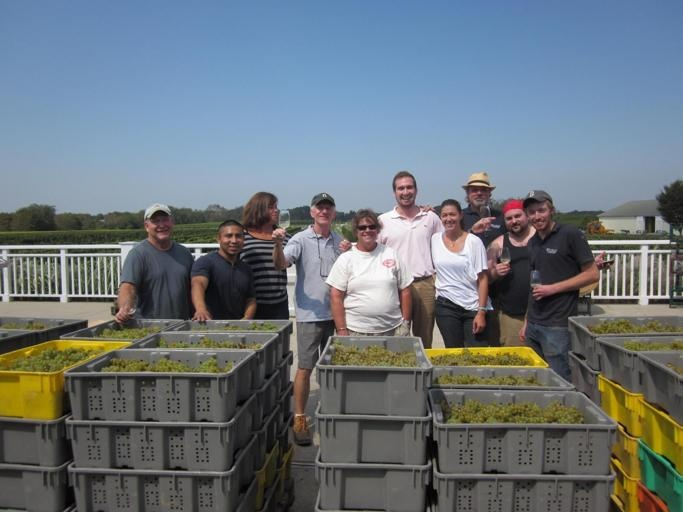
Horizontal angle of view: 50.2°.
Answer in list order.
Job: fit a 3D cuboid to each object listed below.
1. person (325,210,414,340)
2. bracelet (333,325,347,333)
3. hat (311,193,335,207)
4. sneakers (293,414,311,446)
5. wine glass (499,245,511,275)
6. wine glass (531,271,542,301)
[{"bbox_3d":[0.251,0.153,6.785,0.777,1.175,0.292,-1,2,6],"label":"person"},{"bbox_3d":[-0.001,0.688,6.743,0.076,0.052,0.078,6,-6,28],"label":"bracelet"},{"bbox_3d":[-0.175,-0.538,6.909,0.193,0.110,0.254,-2,2,-2],"label":"hat"},{"bbox_3d":[-0.372,1.674,7.064,0.178,0.292,0.173,-2,2,-9],"label":"sneakers"},{"bbox_3d":[1.607,0.038,7.167,0.111,0.250,0.324,-1,2,13],"label":"wine glass"},{"bbox_3d":[1.757,0.254,6.592,0.091,0.247,0.174,-1,2,17],"label":"wine glass"}]
